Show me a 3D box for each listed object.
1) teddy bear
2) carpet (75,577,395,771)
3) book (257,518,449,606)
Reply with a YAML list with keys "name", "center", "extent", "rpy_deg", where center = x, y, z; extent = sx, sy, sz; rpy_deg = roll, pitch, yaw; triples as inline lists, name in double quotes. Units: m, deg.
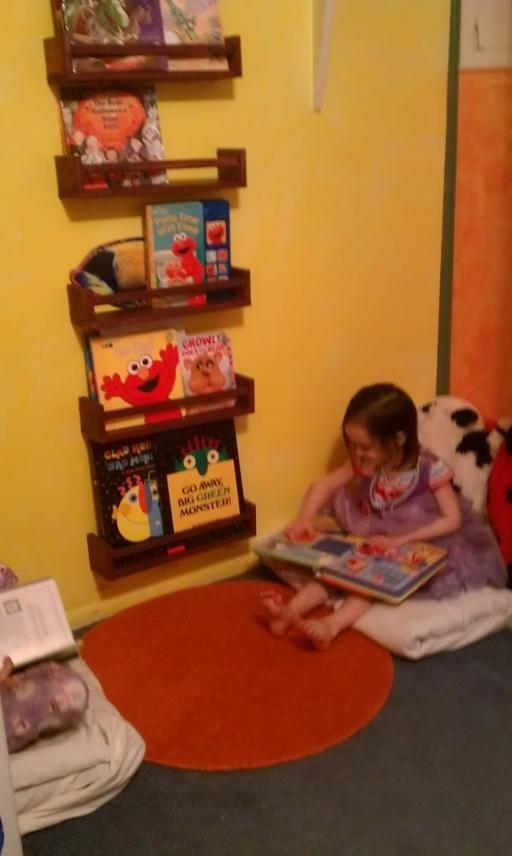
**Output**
- name: "teddy bear"
  center: [0.494, 0.056, 1.586]
  extent: [0.193, 0.274, 0.094]
  rpy_deg: [0, -1, 32]
- name: "carpet"
  center: [-0.037, 0.445, 1.267]
  extent: [0.505, 0.018, 0.604]
  rpy_deg: [-9, 15, -31]
- name: "book"
  center: [0.208, 0.286, 1.383]
  extent: [0.250, 0.035, 0.175]
  rpy_deg: [9, 19, 44]
